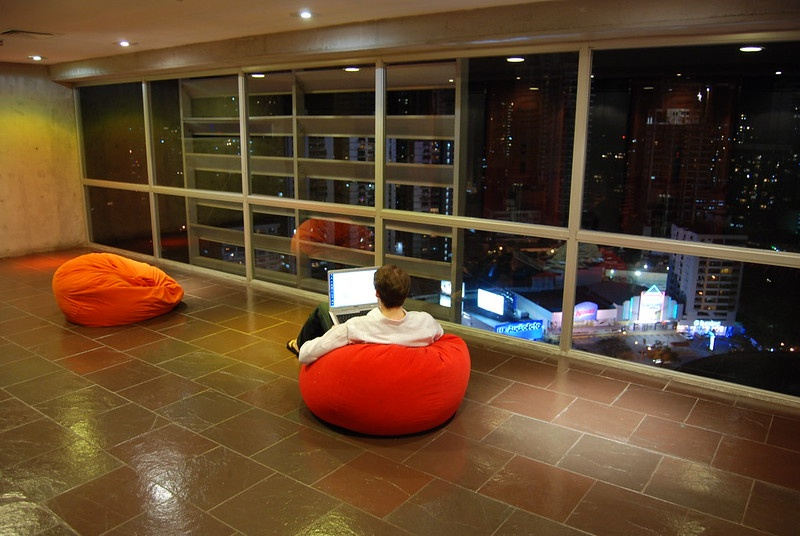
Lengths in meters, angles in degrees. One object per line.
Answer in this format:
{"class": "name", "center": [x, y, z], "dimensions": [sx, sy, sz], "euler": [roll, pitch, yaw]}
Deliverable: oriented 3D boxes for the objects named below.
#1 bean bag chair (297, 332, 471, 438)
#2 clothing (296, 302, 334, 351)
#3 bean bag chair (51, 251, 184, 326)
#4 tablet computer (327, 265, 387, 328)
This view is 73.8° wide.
{"class": "bean bag chair", "center": [-0.142, 0.980, 5.232], "dimensions": [1.727, 0.741, 1.652], "euler": [8, 5, 10]}
{"class": "clothing", "center": [-0.825, 0.594, 5.680], "dimensions": [0.272, 0.241, 0.846], "euler": [26, -4, -23]}
{"class": "bean bag chair", "center": [-3.613, 0.257, 6.761], "dimensions": [1.204, 0.388, 1.071], "euler": [5, 18, -15]}
{"class": "tablet computer", "center": [-0.490, 0.245, 5.508], "dimensions": [0.747, 0.468, 0.535], "euler": [-11, 26, -25]}
